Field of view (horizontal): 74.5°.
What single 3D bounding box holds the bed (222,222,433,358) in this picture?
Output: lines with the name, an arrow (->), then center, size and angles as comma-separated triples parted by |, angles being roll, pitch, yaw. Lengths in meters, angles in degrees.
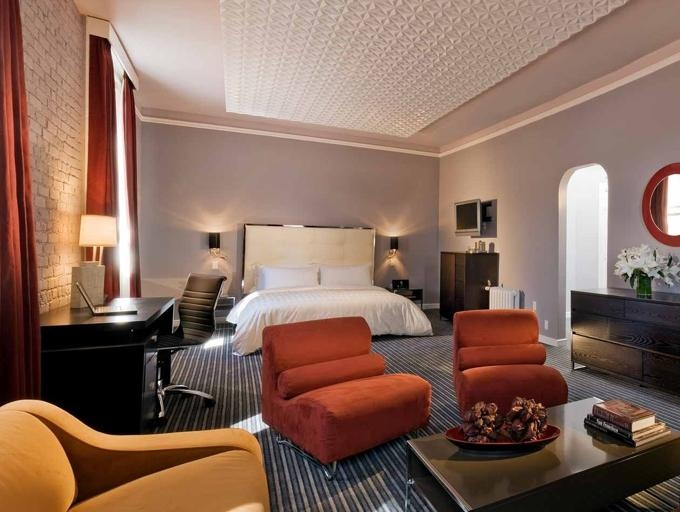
bed -> -0.323, 0.305, 6.404 | 2.055, 1.352, 1.913 | 1, -2, -16

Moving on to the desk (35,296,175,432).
desk -> -2.016, 0.975, 3.909 | 0.842, 0.841, 1.667 | -2, -5, -18

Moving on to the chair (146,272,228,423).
chair -> -1.555, 0.782, 4.118 | 0.835, 1.223, 0.754 | 6, -4, -36

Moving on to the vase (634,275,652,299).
vase -> 2.987, 0.291, 4.391 | 0.125, 0.213, 0.316 | 1, 1, 34

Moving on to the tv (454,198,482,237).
tv -> 2.073, -0.622, 7.127 | 0.191, 0.522, 0.552 | -1, 0, -28

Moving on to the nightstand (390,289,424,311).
nightstand -> 1.149, 0.618, 7.296 | 0.477, 0.514, 0.371 | 0, 7, -7

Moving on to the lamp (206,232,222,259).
lamp -> -1.858, -0.169, 6.631 | 0.192, 0.374, 0.166 | 0, 1, -16

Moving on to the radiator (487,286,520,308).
radiator -> 2.330, 0.599, 6.395 | 0.191, 0.308, 0.540 | -1, 1, -25

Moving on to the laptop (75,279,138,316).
laptop -> -1.848, 0.361, 3.525 | 0.318, 0.222, 0.343 | 1, 1, -22

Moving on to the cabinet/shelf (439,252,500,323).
cabinet/shelf -> 1.971, 0.491, 7.226 | 0.428, 1.193, 1.215 | -1, 4, -8

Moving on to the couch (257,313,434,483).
couch -> 0.008, 0.935, 3.411 | 1.076, 0.978, 1.024 | 2, -7, -38
